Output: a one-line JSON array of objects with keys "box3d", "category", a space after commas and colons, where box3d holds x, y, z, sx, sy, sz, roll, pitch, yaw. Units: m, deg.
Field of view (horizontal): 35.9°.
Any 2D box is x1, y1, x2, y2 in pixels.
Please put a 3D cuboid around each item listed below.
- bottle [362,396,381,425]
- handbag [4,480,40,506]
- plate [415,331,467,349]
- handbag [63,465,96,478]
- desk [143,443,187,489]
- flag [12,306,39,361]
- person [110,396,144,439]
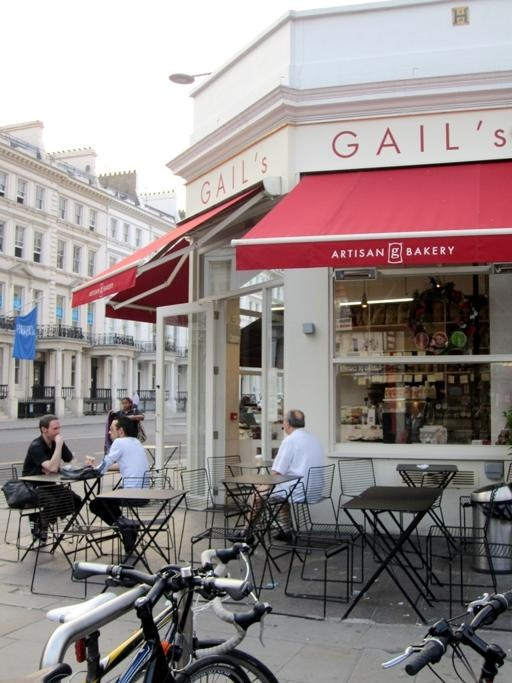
[{"box3d": [1.217, 0.748, 8.265, 0.226, 0.386, 0.216, 2, -7, 0], "category": "bottle"}, {"box3d": [-2.081, 1.337, 7.002, 0.315, 0.223, 0.125, 10, 28, 24], "category": "handbag"}, {"box3d": [1.900, -0.008, 8.016, 0.533, 0.176, 0.087, 0, 0, 15], "category": "plate"}, {"box3d": [-1.549, 1.131, 6.793, 0.159, 0.052, 0.154, 2, -4, 11], "category": "handbag"}, {"box3d": [-1.316, 1.864, 11.348, 0.566, 0.675, 0.720, 0, -4, 3], "category": "desk"}, {"box3d": [-9.981, -0.287, 34.001, 0.867, 2.098, 1.527, 2, -6, -18], "category": "flag"}, {"box3d": [-2.145, 1.390, 13.237, 0.528, 0.867, 0.526, -8, -4, -26], "category": "person"}]
